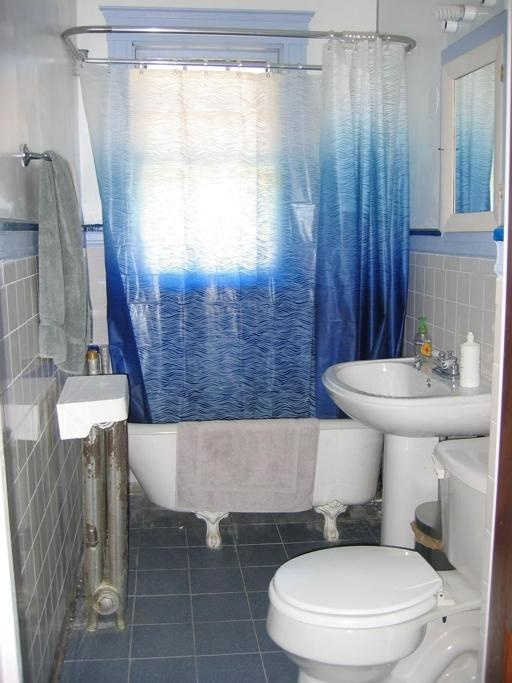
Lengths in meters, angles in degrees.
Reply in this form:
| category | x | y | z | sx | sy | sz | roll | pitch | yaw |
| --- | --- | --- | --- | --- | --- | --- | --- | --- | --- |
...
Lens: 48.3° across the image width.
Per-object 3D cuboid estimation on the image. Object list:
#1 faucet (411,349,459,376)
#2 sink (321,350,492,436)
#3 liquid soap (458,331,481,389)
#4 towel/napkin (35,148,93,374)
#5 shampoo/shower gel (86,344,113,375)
| category | x | y | z | sx | sy | sz | roll | pitch | yaw |
| --- | --- | --- | --- | --- | --- | --- | --- | --- | --- |
| faucet | 0.629 | 0.069 | 2.024 | 0.060 | 0.097 | 0.217 | -1 | 5 | -8 |
| sink | 0.498 | 0.190 | 1.986 | 0.467 | 0.160 | 0.699 | -3 | 7 | 1 |
| liquid soap | 0.662 | 0.051 | 1.776 | 0.057 | 0.171 | 0.061 | 2 | 16 | 21 |
| towel/napkin | -0.568 | -0.247 | 1.677 | 0.087 | 0.598 | 0.311 | -1 | 7 | -8 |
| shampoo/shower gel | -0.621 | 0.076 | 2.269 | 0.099 | 0.148 | 0.042 | -3 | 24 | -7 |
